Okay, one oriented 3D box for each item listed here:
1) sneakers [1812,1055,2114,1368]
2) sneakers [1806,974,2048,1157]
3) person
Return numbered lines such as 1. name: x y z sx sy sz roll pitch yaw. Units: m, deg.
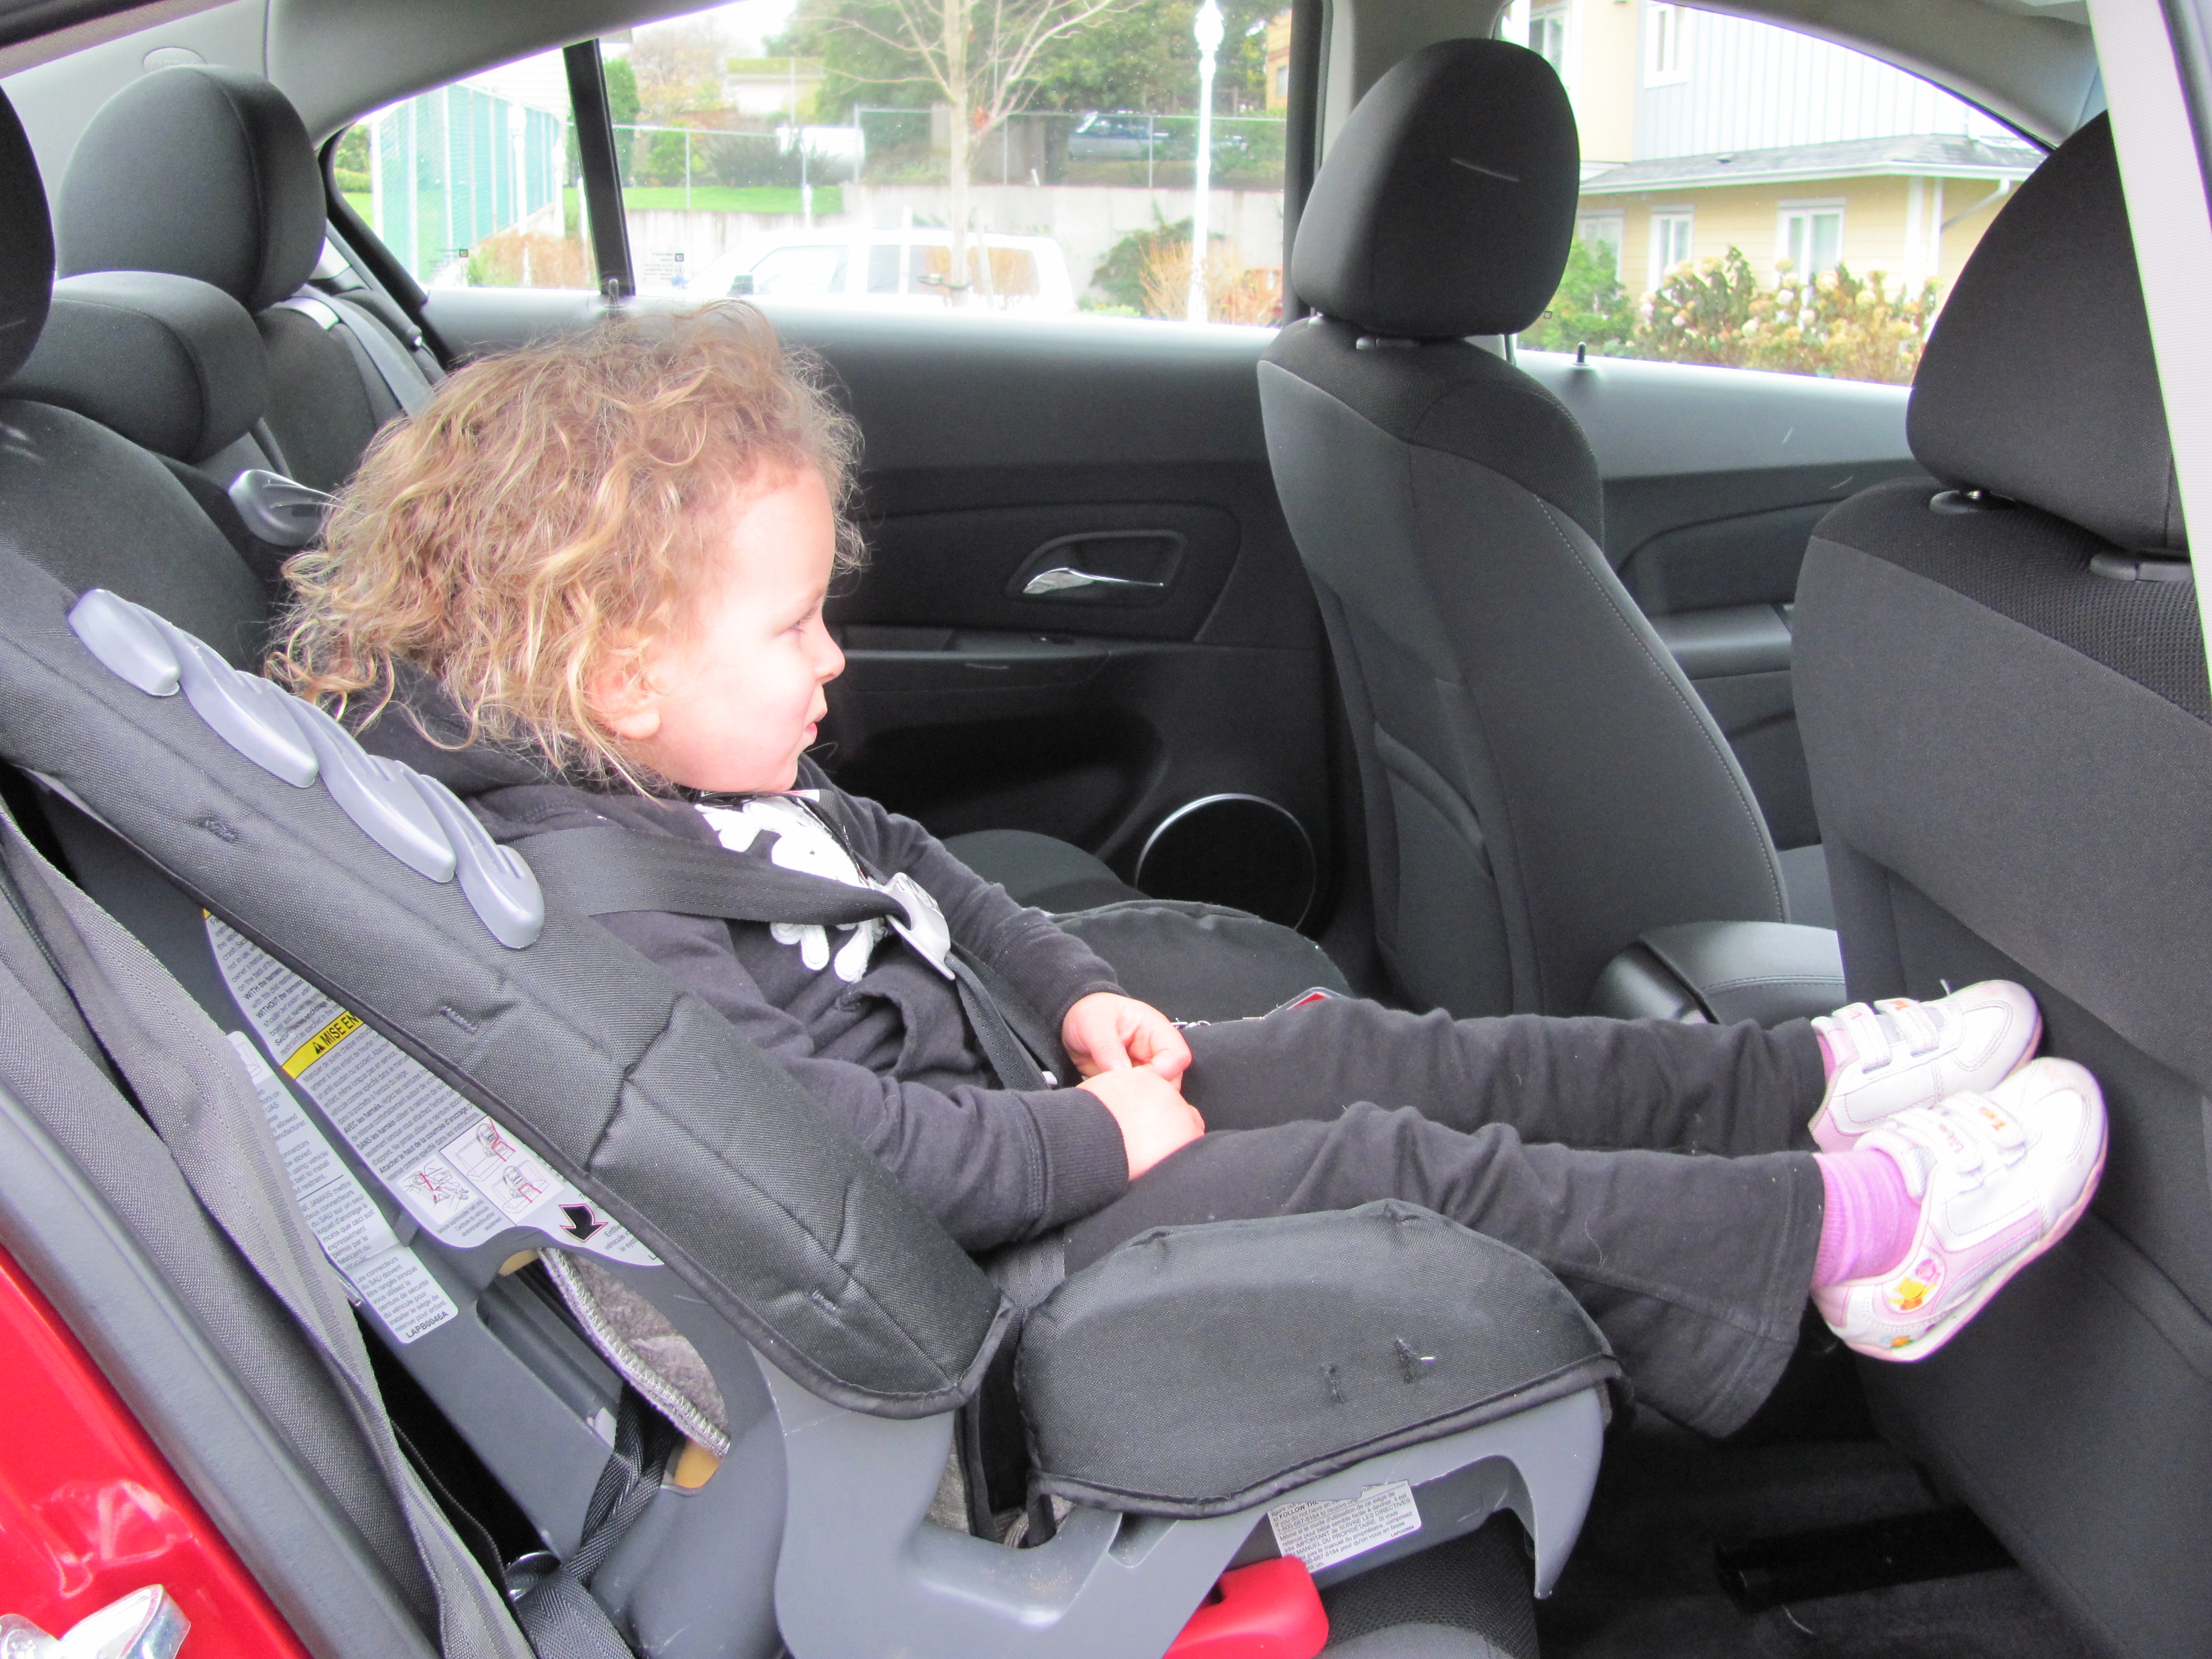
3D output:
1. sneakers: 0.576 0.273 1.174 0.106 0.247 0.129 30 23 -36
2. sneakers: 0.573 0.172 1.230 0.187 0.076 0.068 -29 47 30
3. person: 0.084 -0.013 1.317 1.254 0.760 0.707 -4 14 -13
